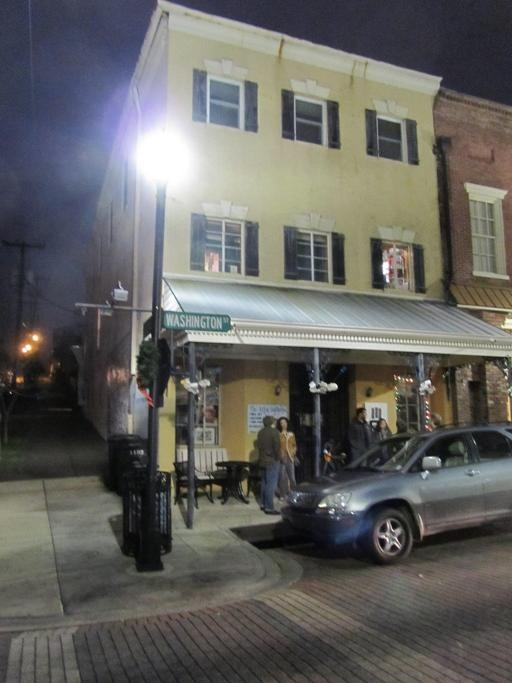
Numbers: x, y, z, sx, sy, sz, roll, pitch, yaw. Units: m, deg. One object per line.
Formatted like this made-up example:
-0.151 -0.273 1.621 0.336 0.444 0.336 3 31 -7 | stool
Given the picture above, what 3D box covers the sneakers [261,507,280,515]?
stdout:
0.297 3.013 10.157 0.269 0.149 0.105 -1 -4 10 | sneakers
